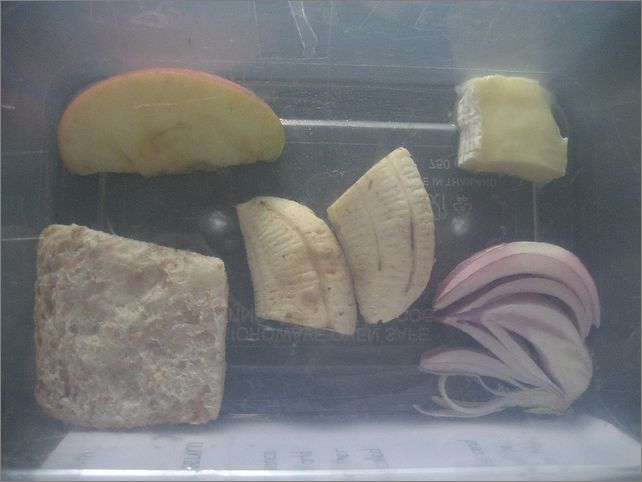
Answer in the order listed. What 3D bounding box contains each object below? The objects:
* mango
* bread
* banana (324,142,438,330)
[{"bbox_3d":[-0.368,-0.285,2.108,0.542,0.186,0.212,-7,81,-1],"label":"mango"},{"bbox_3d":[-0.460,0.211,1.967,0.459,0.108,0.475,0,97,0],"label":"bread"},{"bbox_3d":[0.161,-0.010,2.121,0.228,0.139,0.365,-20,82,-3],"label":"banana"}]
